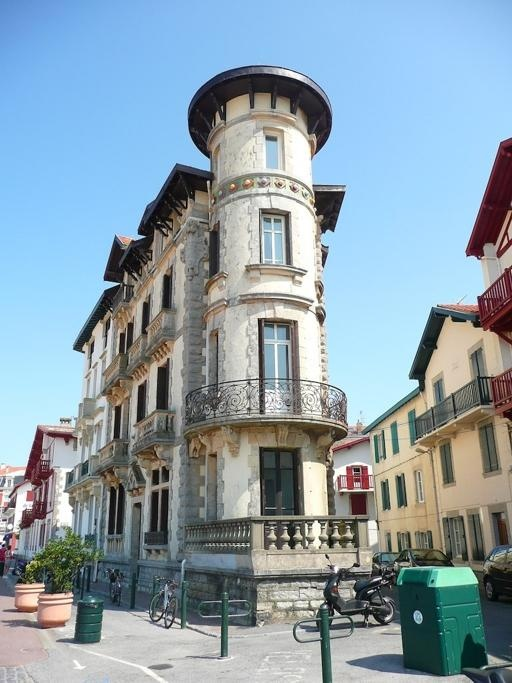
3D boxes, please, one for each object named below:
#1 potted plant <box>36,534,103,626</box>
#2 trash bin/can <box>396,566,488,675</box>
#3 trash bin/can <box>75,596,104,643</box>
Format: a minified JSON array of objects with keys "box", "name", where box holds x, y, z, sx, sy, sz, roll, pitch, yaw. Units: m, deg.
[{"box":[-4.346,5.379,12.590,1.249,1.954,1.264,5,-21,-15],"name":"potted plant"},{"box":[2.091,3.163,6.328,0.684,1.094,0.824,5,-21,-16],"name":"trash bin/can"},{"box":[-3.108,5.176,10.339,0.452,0.758,0.430,5,-21,-15],"name":"trash bin/can"}]
